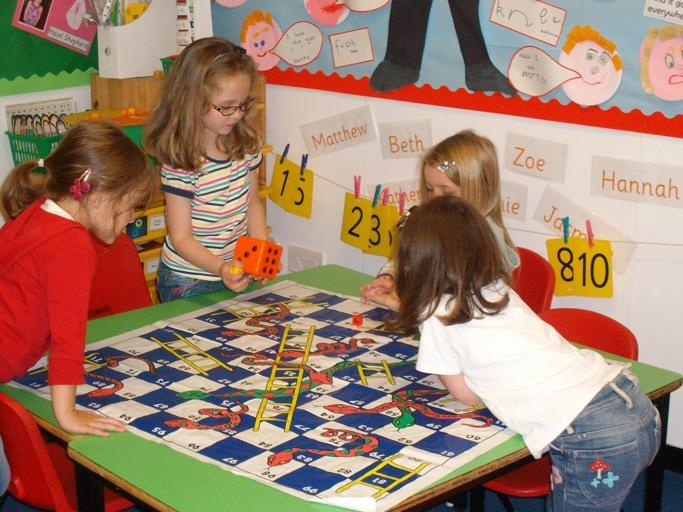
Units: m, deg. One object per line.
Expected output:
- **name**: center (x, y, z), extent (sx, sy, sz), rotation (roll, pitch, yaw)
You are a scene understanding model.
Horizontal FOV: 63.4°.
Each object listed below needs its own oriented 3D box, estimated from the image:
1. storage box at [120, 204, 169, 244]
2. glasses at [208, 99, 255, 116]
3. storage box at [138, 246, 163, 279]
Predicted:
- **storage box**: center (-0.938, -0.159, 2.707), extent (0.215, 0.147, 0.148), rotation (-16, 25, -22)
- **glasses**: center (-0.374, -0.503, 1.814), extent (0.085, 0.025, 0.087), rotation (26, 39, 35)
- **storage box**: center (-0.840, 0.024, 2.467), extent (0.095, 0.127, 0.133), rotation (11, 15, 40)
